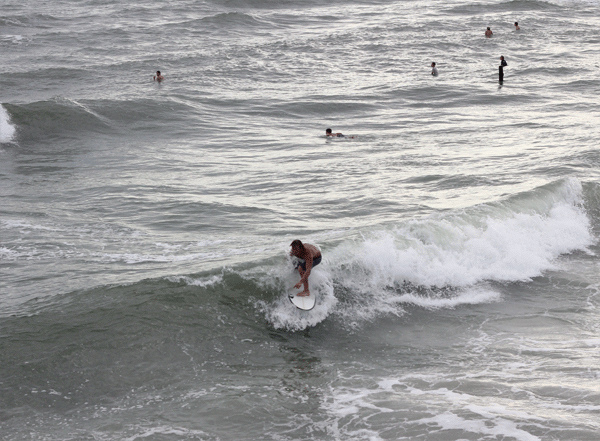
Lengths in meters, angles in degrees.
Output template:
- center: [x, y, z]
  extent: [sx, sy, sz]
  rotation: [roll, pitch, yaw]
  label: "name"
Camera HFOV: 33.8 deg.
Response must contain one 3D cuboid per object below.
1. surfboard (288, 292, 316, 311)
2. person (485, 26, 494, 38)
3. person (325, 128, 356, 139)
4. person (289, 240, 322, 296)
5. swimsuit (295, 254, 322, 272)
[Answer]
- center: [0.063, 2.324, 28.009]
  extent: [0.760, 0.481, 0.598]
  rotation: [-1, 15, -11]
  label: "surfboard"
- center: [12.082, -12.070, 63.370]
  extent: [0.494, 0.619, 1.236]
  rotation: [4, 14, 8]
  label: "person"
- center: [1.716, -3.731, 42.339]
  extent: [1.576, 0.302, 0.308]
  rotation: [2, 21, 16]
  label: "person"
- center: [0.062, 1.316, 27.932]
  extent: [0.618, 1.669, 0.823]
  rotation: [16, 23, 35]
  label: "person"
- center: [0.287, 1.191, 27.989]
  extent: [0.173, 0.627, 0.394]
  rotation: [51, 11, -45]
  label: "swimsuit"
